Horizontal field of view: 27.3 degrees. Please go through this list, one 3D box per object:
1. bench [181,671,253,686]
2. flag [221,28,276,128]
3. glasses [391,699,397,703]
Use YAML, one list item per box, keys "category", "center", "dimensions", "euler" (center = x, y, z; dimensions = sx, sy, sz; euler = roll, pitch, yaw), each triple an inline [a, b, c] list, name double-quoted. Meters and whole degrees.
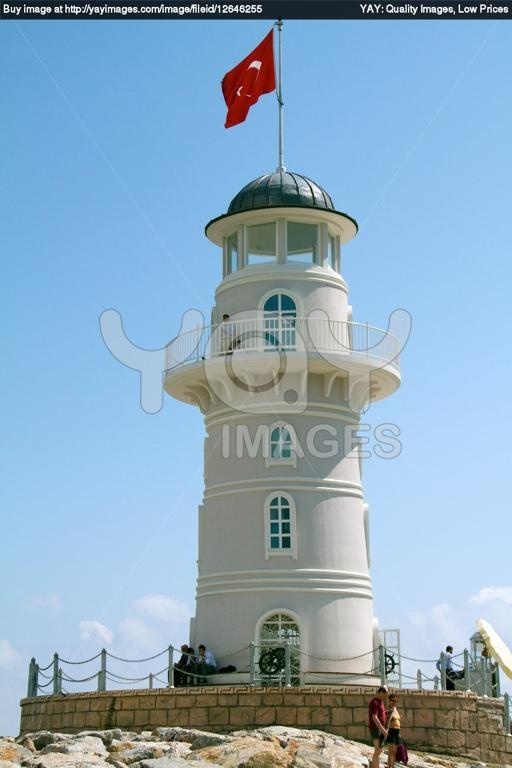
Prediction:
- category: "bench"
  center: [-0.810, 6.718, 24.098]
  dimensions: [1.290, 0.311, 0.316]
  euler: [-5, -25, 12]
- category: "flag"
  center: [-0.220, -7.978, 28.217]
  dimensions: [1.258, 3.437, 1.250]
  euler: [5, -24, -8]
- category: "glasses"
  center: [2.264, 5.276, 17.537]
  dimensions: [0.061, 0.065, 0.020]
  euler: [0, -12, 31]
